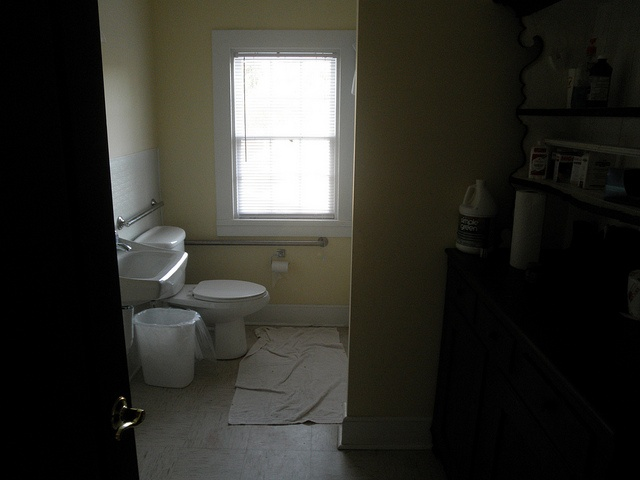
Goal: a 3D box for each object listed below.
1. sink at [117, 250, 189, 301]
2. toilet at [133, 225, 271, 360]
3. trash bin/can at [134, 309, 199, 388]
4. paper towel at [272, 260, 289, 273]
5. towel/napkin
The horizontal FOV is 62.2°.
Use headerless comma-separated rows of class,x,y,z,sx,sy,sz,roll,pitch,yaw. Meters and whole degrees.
sink,-0.937,0.212,2.959,0.307,0.171,0.452,-2,16,-15
toilet,-0.772,0.373,3.699,0.853,0.829,0.458,2,11,-4
trash bin/can,-0.910,0.650,3.420,0.419,0.486,0.448,0,9,-6
paper towel,-0.304,0.215,4.082,0.136,0.103,0.095,-2,17,-5
towel/napkin,-0.181,0.864,3.533,0.728,0.047,1.171,0,17,1
